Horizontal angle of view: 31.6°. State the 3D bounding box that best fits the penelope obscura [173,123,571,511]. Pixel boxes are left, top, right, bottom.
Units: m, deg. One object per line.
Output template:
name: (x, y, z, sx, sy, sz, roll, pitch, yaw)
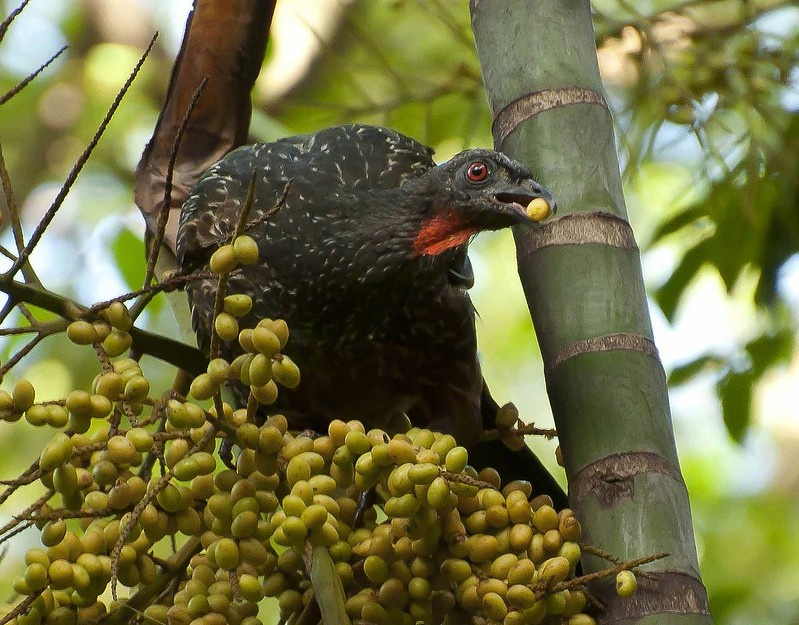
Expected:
penelope obscura: (-0.051, -0.063, 3.383, 1.071, 0.758, 0.577, -7, -19, 44)
